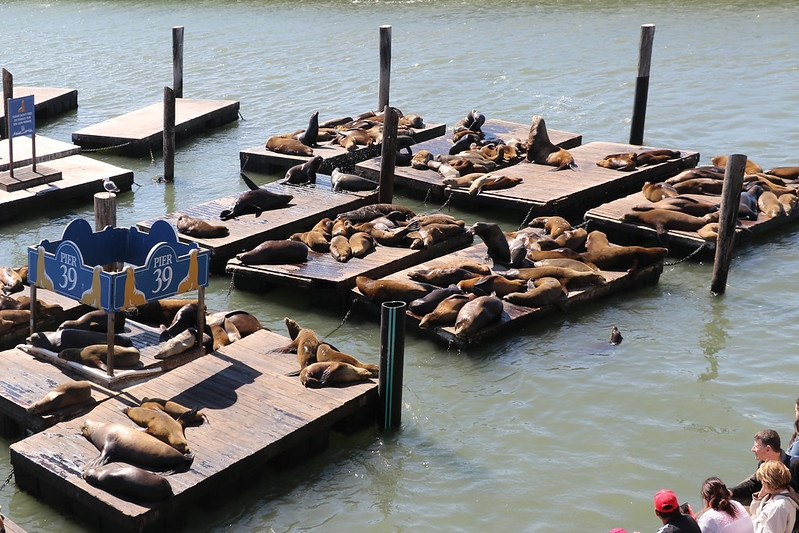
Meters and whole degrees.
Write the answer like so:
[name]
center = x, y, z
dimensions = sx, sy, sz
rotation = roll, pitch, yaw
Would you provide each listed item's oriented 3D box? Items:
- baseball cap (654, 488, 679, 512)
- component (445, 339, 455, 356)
[baseball cap]
center = 4.096, 3.558, 18.210
dimensions = 0.402, 0.200, 0.434
rotation = -1, 21, 9
[component]
center = 0.994, 1.513, 22.618
dimensions = 0.230, 0.201, 0.079
rotation = -1, 1, 35
